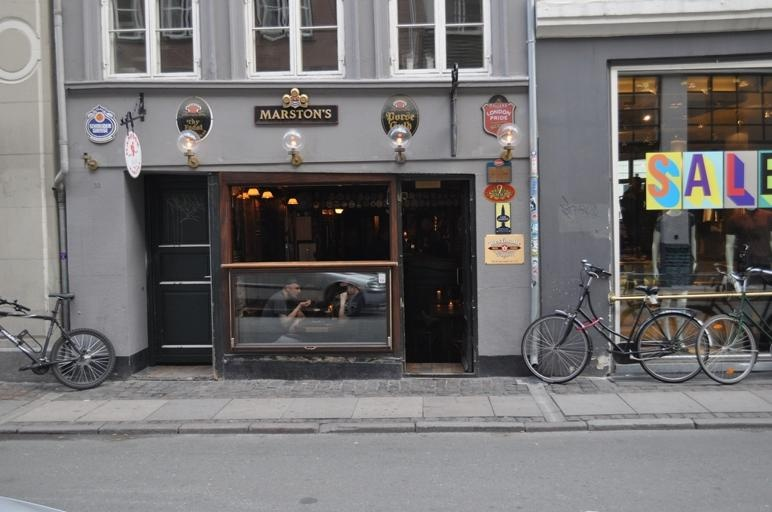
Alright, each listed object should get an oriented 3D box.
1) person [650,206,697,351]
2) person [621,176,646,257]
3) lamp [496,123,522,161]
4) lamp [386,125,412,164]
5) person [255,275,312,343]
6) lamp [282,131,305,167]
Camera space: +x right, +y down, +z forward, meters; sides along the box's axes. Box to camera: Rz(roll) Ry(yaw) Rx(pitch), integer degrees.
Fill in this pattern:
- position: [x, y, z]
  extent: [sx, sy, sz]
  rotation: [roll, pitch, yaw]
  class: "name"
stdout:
- position: [5.082, 0.106, 16.914]
  extent: [0.726, 2.956, 0.517]
  rotation: [-7, 26, 5]
  class: "person"
- position: [4.261, -0.713, 16.635]
  extent: [0.410, 1.330, 0.179]
  rotation: [-2, 7, 7]
  class: "person"
- position: [2.049, -1.928, 16.172]
  extent: [0.385, 0.609, 0.360]
  rotation: [-2, 7, 5]
  class: "lamp"
- position: [0.240, -1.906, 16.252]
  extent: [0.396, 0.657, 0.332]
  rotation: [-3, 7, 1]
  class: "lamp"
- position: [-1.789, 1.128, 16.690]
  extent: [0.834, 1.470, 0.644]
  rotation: [7, 7, 25]
  class: "person"
- position: [-1.573, -1.841, 16.353]
  extent: [0.323, 0.636, 0.274]
  rotation: [-4, 7, -5]
  class: "lamp"
